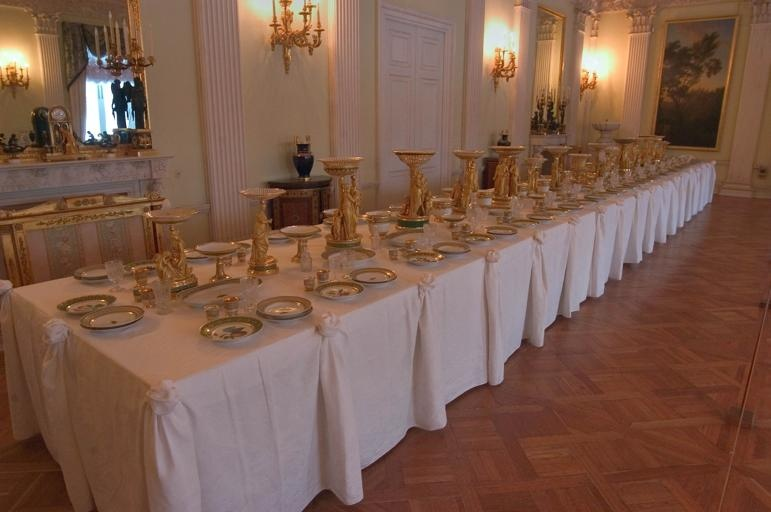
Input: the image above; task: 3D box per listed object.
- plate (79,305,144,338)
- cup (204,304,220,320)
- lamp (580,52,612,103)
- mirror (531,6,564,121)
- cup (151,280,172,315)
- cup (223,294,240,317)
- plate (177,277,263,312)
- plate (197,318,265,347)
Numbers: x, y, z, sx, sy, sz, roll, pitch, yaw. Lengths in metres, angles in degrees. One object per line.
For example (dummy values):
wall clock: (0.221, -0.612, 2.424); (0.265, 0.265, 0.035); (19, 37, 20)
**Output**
plate: (-1.498, 0.348, 2.962); (0.319, 0.089, 0.232); (-7, 16, -14)
cup: (-0.954, 0.313, 2.976); (0.065, 0.080, 0.102); (-11, 18, -27)
lamp: (4.766, -4.166, 12.271); (0.644, 1.054, 0.367); (0, 17, 10)
mirror: (3.096, -3.792, 10.367); (0.082, 2.216, 1.829); (11, 21, 34)
cup: (-1.268, 0.232, 3.066); (0.088, 0.183, 0.107); (-7, 17, -15)
cup: (-0.863, 0.283, 3.068); (0.099, 0.113, 0.102); (2, 7, 0)
plate: (-0.996, 0.208, 3.197); (0.311, 0.053, 0.225); (-17, 24, -39)
plate: (-0.824, 0.398, 2.874); (0.322, 0.083, 0.206); (-4, 16, -4)
